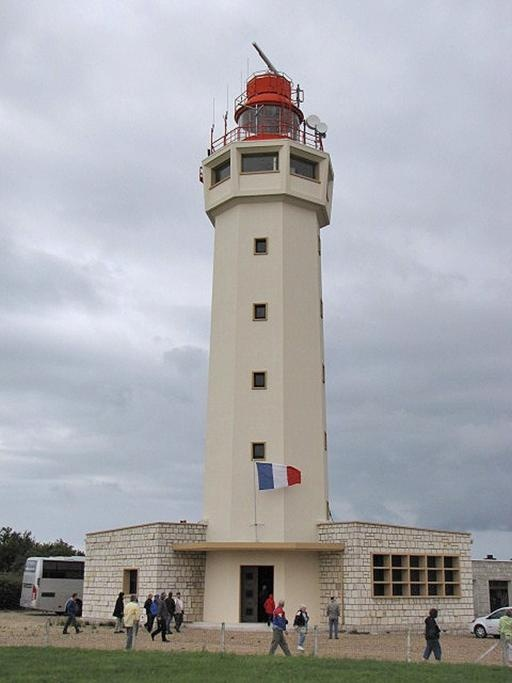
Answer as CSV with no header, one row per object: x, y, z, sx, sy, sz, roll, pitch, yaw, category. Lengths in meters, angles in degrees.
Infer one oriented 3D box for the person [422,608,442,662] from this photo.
4.694,7.891,22.195,0.474,1.478,1.771,-3,-11,11,person

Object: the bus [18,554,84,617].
-10.764,12.992,44.450,1.913,2.814,5.582,3,-14,20,bus
